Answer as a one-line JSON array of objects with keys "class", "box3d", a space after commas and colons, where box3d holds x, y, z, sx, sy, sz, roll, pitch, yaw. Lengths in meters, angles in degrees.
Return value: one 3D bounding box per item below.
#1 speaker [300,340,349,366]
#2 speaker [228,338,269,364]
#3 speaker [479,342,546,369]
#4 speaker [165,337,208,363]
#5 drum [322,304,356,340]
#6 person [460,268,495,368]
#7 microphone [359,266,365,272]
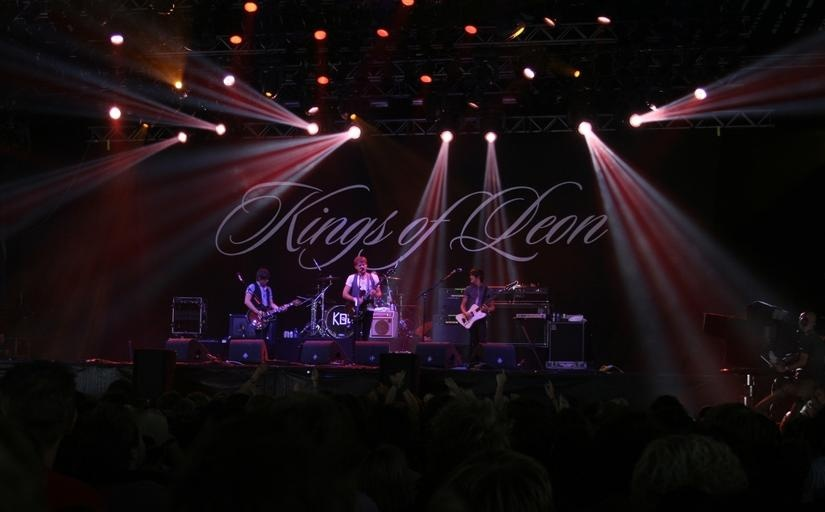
[{"class": "speaker", "box3d": [-1.265, 1.427, 10.129, 0.461, 0.279, 0.464, -5, -8, 19]}, {"class": "speaker", "box3d": [-2.465, 1.416, 10.312, 0.685, 0.433, 0.496, 2, 2, -1]}, {"class": "speaker", "box3d": [1.572, 1.552, 10.831, 0.595, 0.247, 0.314, 13, -21, -34]}, {"class": "speaker", "box3d": [-3.208, 1.331, 9.767, 0.650, 0.391, 0.655, -1, -7, 9]}, {"class": "drum", "box3d": [-1.392, 1.219, 12.820, 0.605, 0.635, 0.639, 22, -6, 3]}, {"class": "person", "box3d": [1.012, 1.000, 11.852, 0.616, 1.428, 0.176, 4, -6, 21]}, {"class": "microphone", "box3d": [-0.909, 0.213, 12.253, 0.065, 0.075, 0.085, -3, -27, 6]}]
